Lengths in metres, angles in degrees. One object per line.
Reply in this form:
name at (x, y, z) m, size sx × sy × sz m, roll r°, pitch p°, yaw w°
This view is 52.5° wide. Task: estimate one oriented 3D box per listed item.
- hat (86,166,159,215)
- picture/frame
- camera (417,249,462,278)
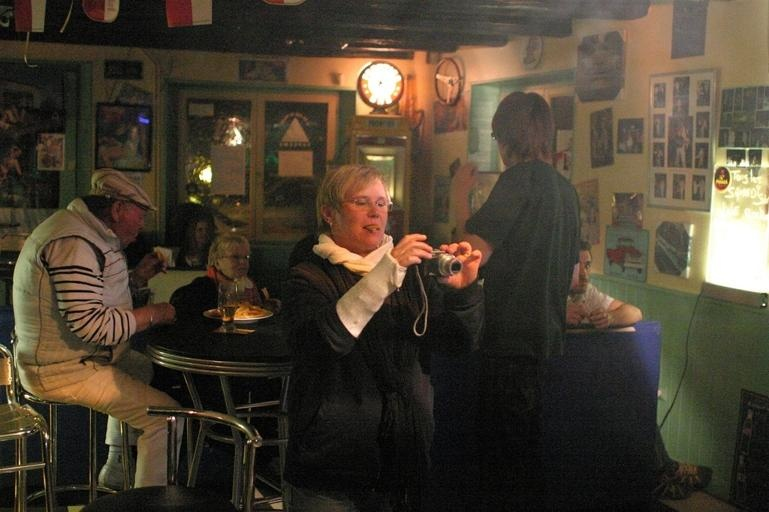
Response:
hat at (-1.053, -0.264, 3.142) m, size 0.186 × 0.082 × 0.162 m, roll 15°, pitch 1°, yaw -10°
picture/frame at (-1.045, -0.489, 3.128) m, size 0.297 × 0.350 × 0.035 m, roll 1°, pitch 3°, yaw -6°
camera at (0.202, 0.031, 2.745) m, size 0.089 × 0.062 × 0.118 m, roll 0°, pitch -1°, yaw -19°
